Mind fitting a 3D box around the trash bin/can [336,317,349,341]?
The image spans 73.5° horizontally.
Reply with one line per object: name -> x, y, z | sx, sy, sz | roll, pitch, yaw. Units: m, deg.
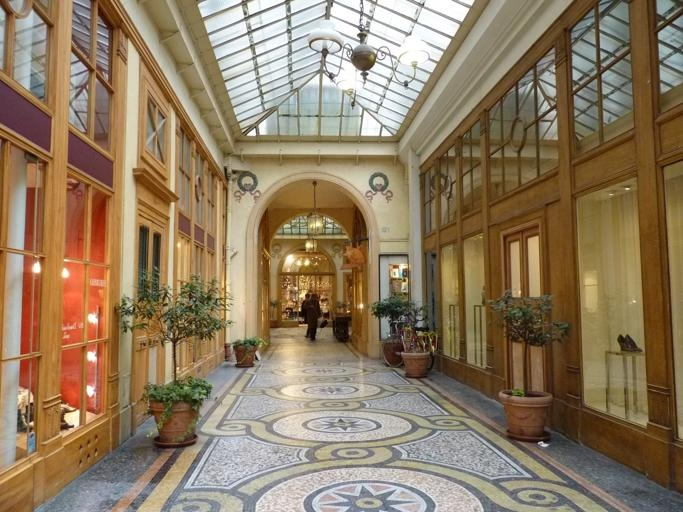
trash bin/can -> 0.037, 3.204, 20.351 | 0.849, 1.055, 1.523 | 1, -6, -1

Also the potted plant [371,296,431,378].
potted plant -> 1.559, 2.130, 12.264 | 1.845, 2.475, 2.023 | -5, -11, 20

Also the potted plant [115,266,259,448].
potted plant -> -2.500, 1.472, 6.974 | 1.366, 2.332, 2.098 | 1, -8, -15

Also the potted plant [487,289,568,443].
potted plant -> 2.849, 1.546, 6.813 | 0.928, 2.037, 1.631 | -5, -8, 22
